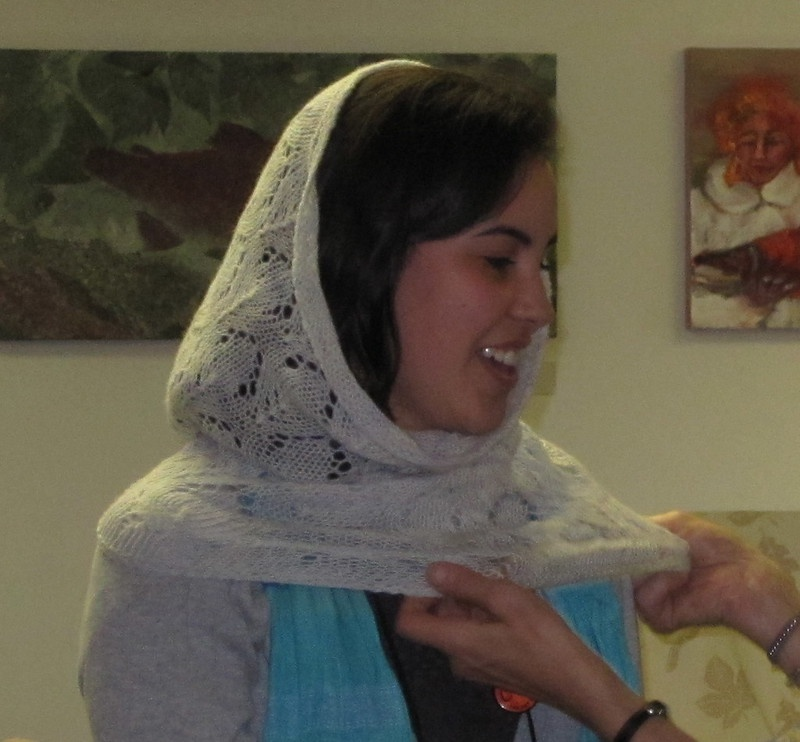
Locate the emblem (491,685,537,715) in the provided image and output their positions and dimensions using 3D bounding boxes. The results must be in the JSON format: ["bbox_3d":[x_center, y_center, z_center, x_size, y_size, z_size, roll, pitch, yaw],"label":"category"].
[{"bbox_3d":[0.177,0.510,2.047,0.058,0.010,0.053,13,26,19],"label":"emblem"}]

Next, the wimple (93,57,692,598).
[{"bbox_3d":[0.031,-0.088,2.286,0.837,0.765,1.054,24,19,37],"label":"wimple"}]
